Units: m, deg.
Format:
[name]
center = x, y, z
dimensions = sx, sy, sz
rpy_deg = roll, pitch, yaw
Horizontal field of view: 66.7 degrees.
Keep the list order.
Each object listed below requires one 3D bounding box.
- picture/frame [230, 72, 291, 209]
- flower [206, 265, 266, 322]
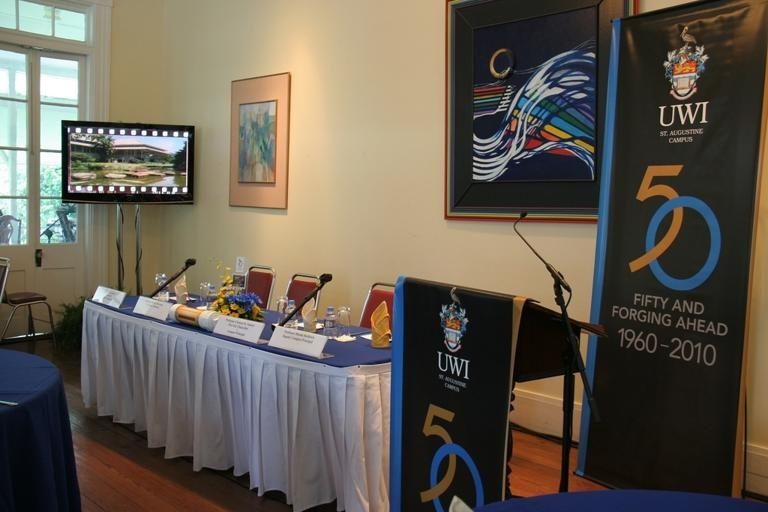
[picture/frame]
center = -1.507, -1.359, 6.965
dimensions = 1.016, 1.558, 0.056
rpy_deg = 5, 6, 36
[flower]
center = -1.166, 0.337, 4.661
dimensions = 0.371, 0.259, 0.356
rpy_deg = 17, -1, 41
